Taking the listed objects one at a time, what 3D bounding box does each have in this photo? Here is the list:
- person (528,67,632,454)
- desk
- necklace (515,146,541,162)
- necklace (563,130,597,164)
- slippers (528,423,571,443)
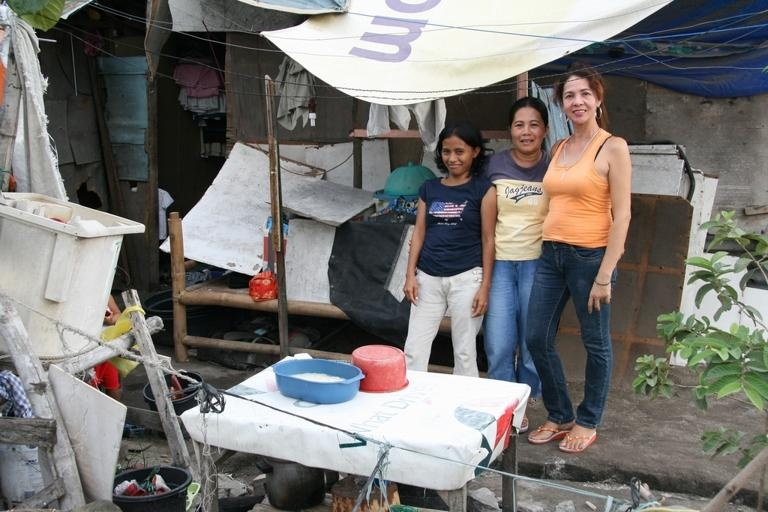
[{"bbox_3d":[1.412,0.078,5.167,0.655,2.815,0.356,6,10,21],"label":"person"},{"bbox_3d":[-0.091,1.125,4.317,1.749,0.695,0.872,5,8,17],"label":"desk"},{"bbox_3d":[1.114,-0.786,5.509,0.144,0.087,0.133,2,3,-2],"label":"necklace"},{"bbox_3d":[1.379,-0.780,5.081,0.294,0.267,0.124,10,12,43],"label":"necklace"},{"bbox_3d":[1.274,1.378,5.474,0.370,0.098,0.134,-7,7,-20],"label":"slippers"}]
